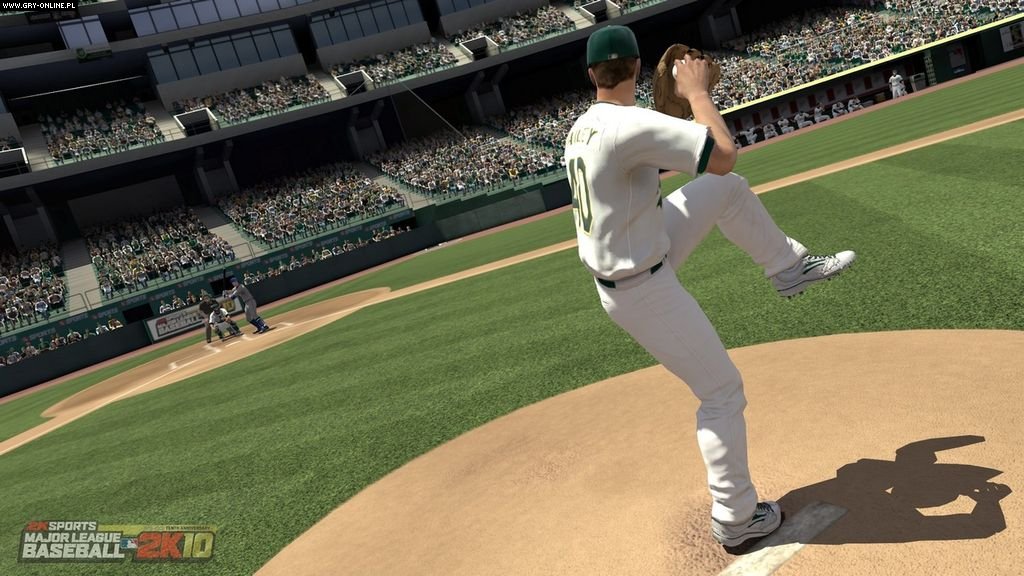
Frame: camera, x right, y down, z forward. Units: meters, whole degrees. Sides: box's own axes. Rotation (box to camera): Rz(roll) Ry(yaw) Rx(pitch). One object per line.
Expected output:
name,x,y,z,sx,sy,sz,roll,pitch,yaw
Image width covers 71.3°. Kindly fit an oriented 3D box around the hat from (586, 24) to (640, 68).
hat,1.399,-3.559,10.294,0.852,0.652,1.333,-9,22,7
